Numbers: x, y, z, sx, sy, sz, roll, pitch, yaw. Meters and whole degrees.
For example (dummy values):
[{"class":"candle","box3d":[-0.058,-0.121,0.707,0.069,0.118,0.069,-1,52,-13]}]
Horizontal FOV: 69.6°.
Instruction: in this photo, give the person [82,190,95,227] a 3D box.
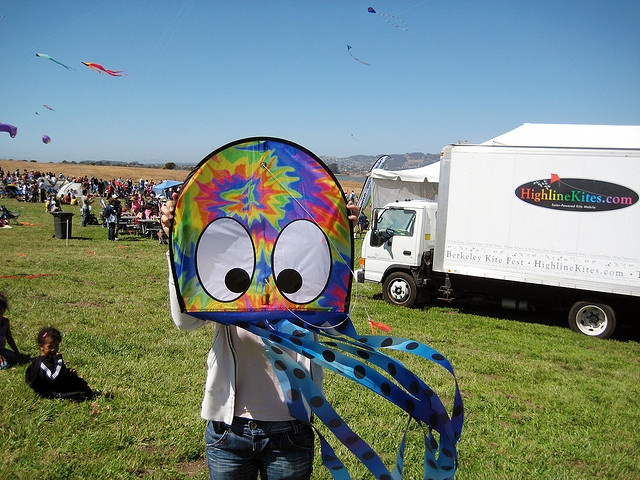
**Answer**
[{"class":"person","box3d":[-12.569,-1.639,24.632,0.502,1.711,2.615,-1,8,-26]}]

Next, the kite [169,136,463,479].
[{"class":"kite","box3d":[-0.222,1.012,3.591,1.554,2.873,1.232,-9,-21,-19]}]

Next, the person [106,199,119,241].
[{"class":"person","box3d":[-9.291,-0.963,20.455,0.431,1.828,0.959,-1,7,-27]}]

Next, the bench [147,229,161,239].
[{"class":"bench","box3d":[-8.168,-0.367,22.365,0.511,0.636,0.155,2,3,3]}]

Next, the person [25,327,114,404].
[{"class":"person","box3d":[-3.379,1.567,5.874,0.893,0.865,0.371,3,6,3]}]

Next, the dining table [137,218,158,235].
[{"class":"dining table","box3d":[-8.317,-0.662,22.213,0.612,0.591,1.053,1,-1,-19]}]

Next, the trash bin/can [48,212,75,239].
[{"class":"trash bin/can","box3d":[-10.677,-0.607,18.983,0.931,1.079,0.469,6,7,30]}]
